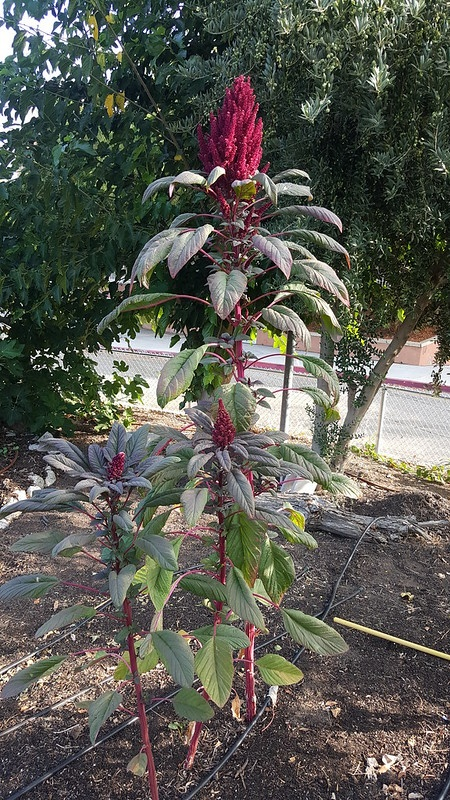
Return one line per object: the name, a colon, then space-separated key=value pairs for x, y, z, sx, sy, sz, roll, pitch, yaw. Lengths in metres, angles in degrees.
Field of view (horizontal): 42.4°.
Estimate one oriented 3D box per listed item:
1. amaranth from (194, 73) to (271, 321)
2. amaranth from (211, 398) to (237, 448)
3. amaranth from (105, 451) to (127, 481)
amaranth: x=0.030 y=-0.692 z=1.583 sx=0.143 sy=0.380 sz=0.161 roll=4 pitch=-4 yaw=-9
amaranth: x=-0.003 y=0.065 z=1.471 sx=0.056 sy=0.122 sz=0.077 roll=6 pitch=5 yaw=7
amaranth: x=-0.267 y=0.166 z=1.416 sx=0.039 sy=0.084 sz=0.039 roll=18 pitch=-7 yaw=-14
